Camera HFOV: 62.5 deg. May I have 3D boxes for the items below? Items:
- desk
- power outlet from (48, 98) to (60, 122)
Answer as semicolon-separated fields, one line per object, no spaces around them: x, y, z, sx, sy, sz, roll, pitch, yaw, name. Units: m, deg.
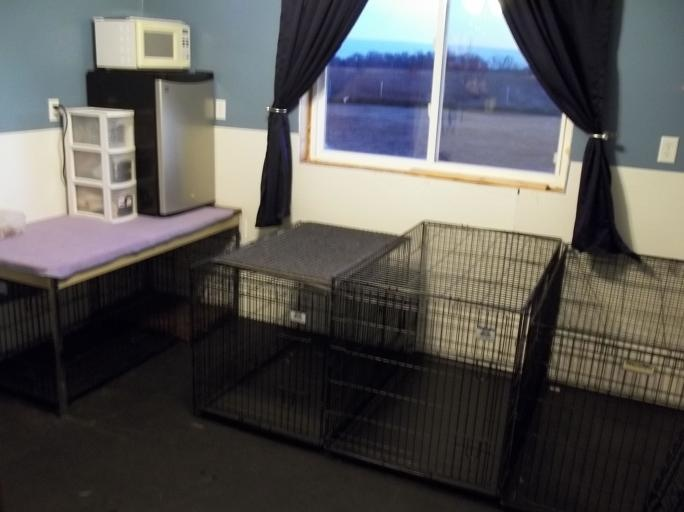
-1.223;0.230;3.504;0.405;0.838;1.544;13;20;32;desk
-1.778;-0.900;3.472;0.027;0.147;0.088;13;19;31;power outlet
